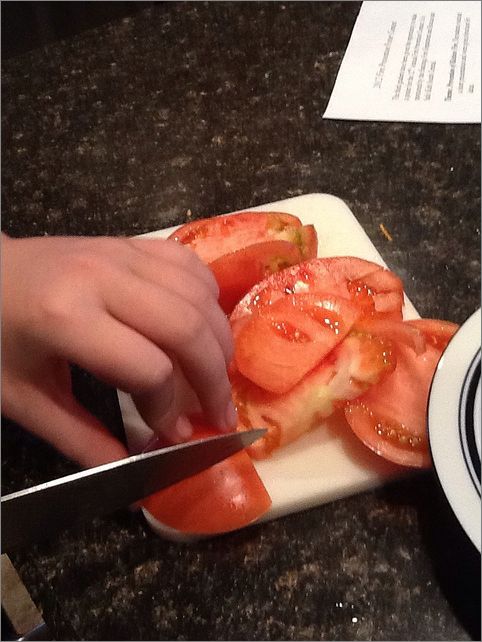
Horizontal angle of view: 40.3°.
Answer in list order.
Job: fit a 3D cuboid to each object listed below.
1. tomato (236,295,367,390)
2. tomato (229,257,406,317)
[{"bbox_3d":[0.046,0.009,0.560,0.113,0.032,0.068,-38,59,-19],"label":"tomato"},{"bbox_3d":[0.067,-0.037,0.658,0.196,0.151,0.054,-1,87,36],"label":"tomato"}]
